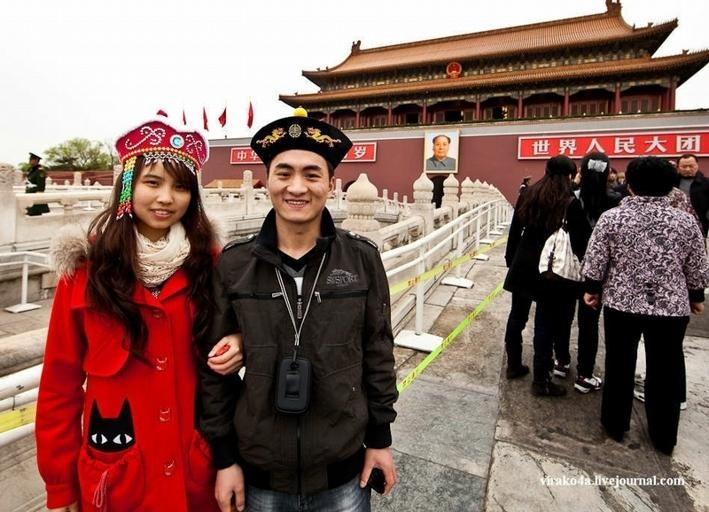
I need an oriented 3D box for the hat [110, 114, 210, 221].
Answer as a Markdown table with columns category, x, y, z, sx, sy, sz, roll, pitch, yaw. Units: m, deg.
| category | x | y | z | sx | sy | sz | roll | pitch | yaw |
| --- | --- | --- | --- | --- | --- | --- | --- | --- | --- |
| hat | -0.981 | -0.471 | 2.409 | 0.396 | 0.502 | 0.445 | -6 | -5 | 43 |
